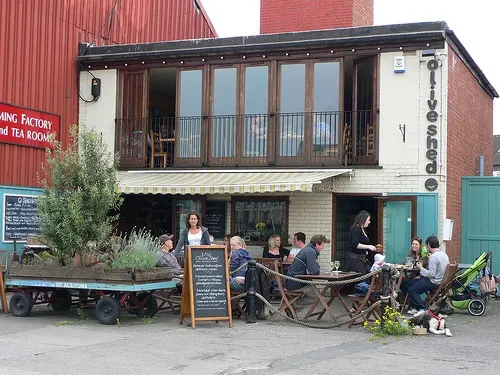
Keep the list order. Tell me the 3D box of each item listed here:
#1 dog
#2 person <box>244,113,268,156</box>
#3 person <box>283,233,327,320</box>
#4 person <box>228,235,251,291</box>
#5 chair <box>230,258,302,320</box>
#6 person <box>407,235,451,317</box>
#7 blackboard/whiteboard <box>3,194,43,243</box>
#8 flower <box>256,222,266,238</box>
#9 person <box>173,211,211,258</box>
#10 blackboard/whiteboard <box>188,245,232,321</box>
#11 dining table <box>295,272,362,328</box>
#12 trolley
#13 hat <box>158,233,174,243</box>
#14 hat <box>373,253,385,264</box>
[{"bbox_3d":[3.491,2.652,13.671,0.389,0.586,1.034,6,-5,-38],"label":"dog"},{"bbox_3d":[0.152,-1.437,19.156,0.528,1.292,0.475,-2,0,25],"label":"person"},{"bbox_3d":[1.150,1.822,14.364,0.853,1.620,0.674,-1,-3,2],"label":"person"},{"bbox_3d":[-0.242,1.626,14.691,0.346,1.108,0.447,5,1,-1],"label":"person"},{"bbox_3d":[0.549,2.151,14.872,1.070,1.445,1.126,-1,-1,28],"label":"chair"},{"bbox_3d":[3.678,1.903,14.532,0.877,1.834,0.804,-1,-3,36],"label":"person"},{"bbox_3d":[-6.156,0.836,18.492,0.194,1.254,1.078,-2,-3,28],"label":"blackboard/whiteboard"},{"bbox_3d":[0.397,1.177,19.240,0.310,0.441,0.330,-3,-9,30],"label":"flower"},{"bbox_3d":[-1.239,1.062,15.507,0.609,1.131,0.564,-1,-2,10],"label":"person"},{"bbox_3d":[-0.828,1.959,13.710,0.838,1.869,0.642,4,-9,-18],"label":"blackboard/whiteboard"},{"bbox_3d":[1.581,2.333,14.571,1.034,1.081,1.381,-2,-5,23],"label":"dining table"},{"bbox_3d":[-3.295,1.959,14.475,3.282,1.687,1.306,-2,-3,19],"label":"trolley"},{"bbox_3d":[-1.880,1.173,15.334,0.279,0.144,0.184,-9,10,-20],"label":"hat"},{"bbox_3d":[2.732,1.528,14.617,0.221,0.130,0.226,-11,5,17],"label":"hat"}]
